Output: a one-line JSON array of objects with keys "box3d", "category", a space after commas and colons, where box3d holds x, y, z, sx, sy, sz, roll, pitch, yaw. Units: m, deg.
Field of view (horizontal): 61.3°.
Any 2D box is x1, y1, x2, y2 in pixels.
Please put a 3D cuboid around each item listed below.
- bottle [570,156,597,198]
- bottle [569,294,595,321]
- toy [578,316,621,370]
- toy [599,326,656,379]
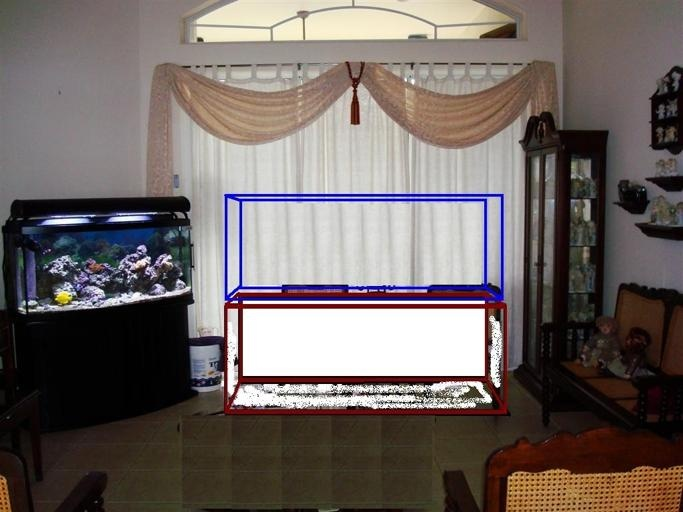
[{"box3d": [2.080, -0.677, 4.951, 0.313, 0.491, 0.049, 0, 0, -1], "category": "bottle"}, {"box3d": [2.113, 0.434, 5.047, 0.207, 0.264, 0.032, 0, 1, 3], "category": "bottle"}, {"box3d": [2.058, 0.669, 4.565, 0.260, 0.410, 0.311, 9, 5, 35], "category": "toy"}, {"box3d": [2.184, 0.728, 4.376, 0.313, 0.385, 0.325, 8, 15, 31], "category": "toy"}]
